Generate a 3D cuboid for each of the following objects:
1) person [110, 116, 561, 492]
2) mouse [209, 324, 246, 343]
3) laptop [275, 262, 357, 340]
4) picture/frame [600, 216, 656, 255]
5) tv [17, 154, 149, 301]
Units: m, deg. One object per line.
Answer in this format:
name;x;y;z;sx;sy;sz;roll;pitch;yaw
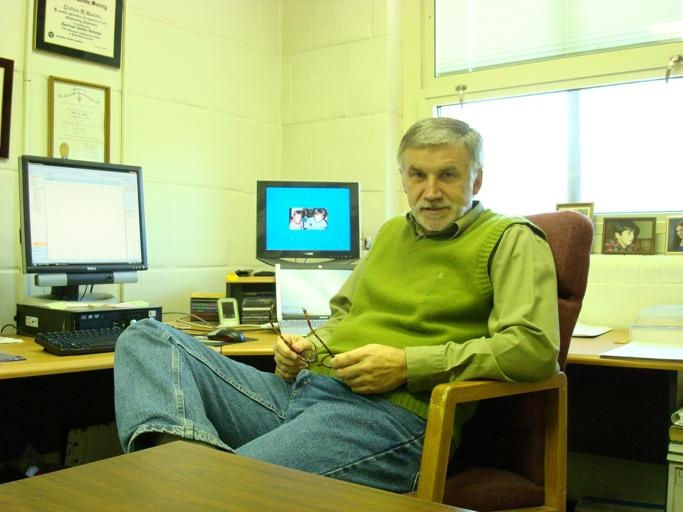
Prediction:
person;0.080;0.180;1.685;1.198;0.858;0.895;7;-2;-32
mouse;-0.430;0.280;2.132;0.112;0.038;0.069;3;0;13
laptop;-0.126;0.158;2.291;0.328;0.218;0.249;1;-2;-9
picture/frame;1.198;-0.087;2.383;0.159;0.139;0.013;2;-12;29
tv;-1.007;-0.114;2.204;0.524;0.596;0.282;6;-21;-42
